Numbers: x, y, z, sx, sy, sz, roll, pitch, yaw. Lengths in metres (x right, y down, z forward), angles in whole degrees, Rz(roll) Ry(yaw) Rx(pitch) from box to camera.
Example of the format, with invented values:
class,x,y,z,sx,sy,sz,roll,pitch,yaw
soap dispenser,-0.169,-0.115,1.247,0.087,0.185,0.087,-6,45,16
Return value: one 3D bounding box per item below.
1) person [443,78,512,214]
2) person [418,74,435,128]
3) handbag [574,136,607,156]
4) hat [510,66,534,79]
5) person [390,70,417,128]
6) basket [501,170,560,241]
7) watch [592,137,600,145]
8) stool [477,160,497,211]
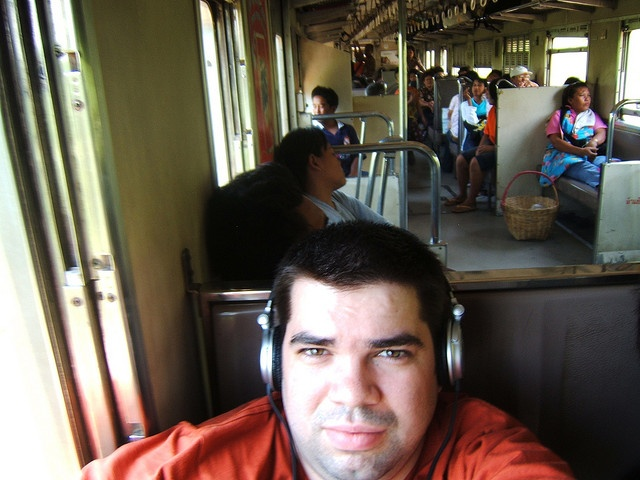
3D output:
class,x,y,z,sx,sy,sz,roll,pitch,yaw
person,2.187,-1.323,7.474,0.777,1.682,1.325,2,15,19
person,2.241,-2.967,11.487,0.256,1.161,0.528,1,15,16
handbag,3.101,-1.101,6.296,0.253,0.139,0.369,0,55,21
hat,2.920,-2.501,8.102,0.236,0.145,0.316,-14,15,-26
person,1.769,-2.754,11.050,0.394,1.406,0.399,-11,11,7
basket,2.291,-0.415,5.990,0.535,0.751,0.578,2,18,9
watch,3.225,-1.160,6.381,0.085,0.087,0.024,15,-37,-44
stool,2.241,-0.745,7.342,0.177,0.397,0.623,1,6,10
